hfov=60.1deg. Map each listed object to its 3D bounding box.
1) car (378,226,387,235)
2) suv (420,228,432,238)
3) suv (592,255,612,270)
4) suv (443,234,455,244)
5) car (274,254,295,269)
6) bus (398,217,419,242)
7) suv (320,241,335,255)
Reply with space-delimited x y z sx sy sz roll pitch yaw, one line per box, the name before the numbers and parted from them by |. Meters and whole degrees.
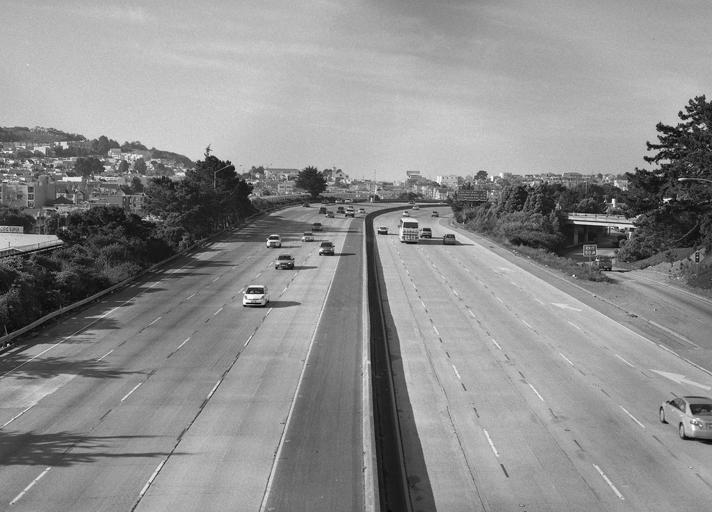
car | 4.483 -4.255 103.844 1.678 1.028 2.018 3 11 -2
suv | 11.597 -3.678 101.501 1.817 1.444 3.124 4 11 5
suv | 34.135 1.084 85.975 2.463 2.354 4.012 0 1 1
suv | 14.036 -2.422 93.163 1.712 1.233 3.010 4 11 6
car | -8.105 0.745 69.701 2.015 1.338 1.837 4 11 3
bus | 8.222 -3.838 94.844 2.709 3.512 4.431 5 11 11
suv | -3.858 -0.991 80.522 1.839 1.561 3.862 0 0 -1
